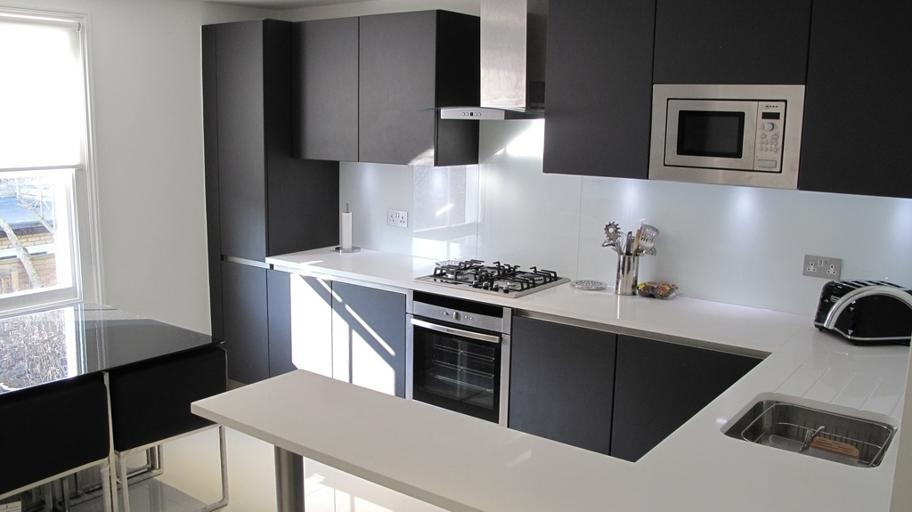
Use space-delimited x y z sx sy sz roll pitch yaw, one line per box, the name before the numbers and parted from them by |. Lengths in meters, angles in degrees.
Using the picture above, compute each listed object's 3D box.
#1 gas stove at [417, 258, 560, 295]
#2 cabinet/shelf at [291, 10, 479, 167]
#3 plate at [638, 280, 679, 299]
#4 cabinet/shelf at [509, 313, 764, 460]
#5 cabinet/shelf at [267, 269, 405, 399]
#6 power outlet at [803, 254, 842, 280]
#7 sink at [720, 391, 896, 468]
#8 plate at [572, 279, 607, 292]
gas stove | 0.284 0.127 5.033 1.009 0.141 0.669 5 14 22
cabinet/shelf | -0.605 -1.467 5.683 1.831 1.231 0.655 12 15 40
plate | 1.499 0.245 4.756 0.259 0.112 0.187 7 15 27
cabinet/shelf | 1.334 0.912 4.661 1.660 0.907 0.851 7 9 37
cabinet/shelf | -0.897 0.571 5.557 1.359 1.065 0.473 17 28 24
power outlet | 2.503 0.070 4.378 0.289 0.185 0.153 3 3 39
sink | 1.872 0.833 3.271 0.547 0.164 0.428 7 14 37
plate | 1.025 0.225 4.909 0.264 0.043 0.186 2 13 7
